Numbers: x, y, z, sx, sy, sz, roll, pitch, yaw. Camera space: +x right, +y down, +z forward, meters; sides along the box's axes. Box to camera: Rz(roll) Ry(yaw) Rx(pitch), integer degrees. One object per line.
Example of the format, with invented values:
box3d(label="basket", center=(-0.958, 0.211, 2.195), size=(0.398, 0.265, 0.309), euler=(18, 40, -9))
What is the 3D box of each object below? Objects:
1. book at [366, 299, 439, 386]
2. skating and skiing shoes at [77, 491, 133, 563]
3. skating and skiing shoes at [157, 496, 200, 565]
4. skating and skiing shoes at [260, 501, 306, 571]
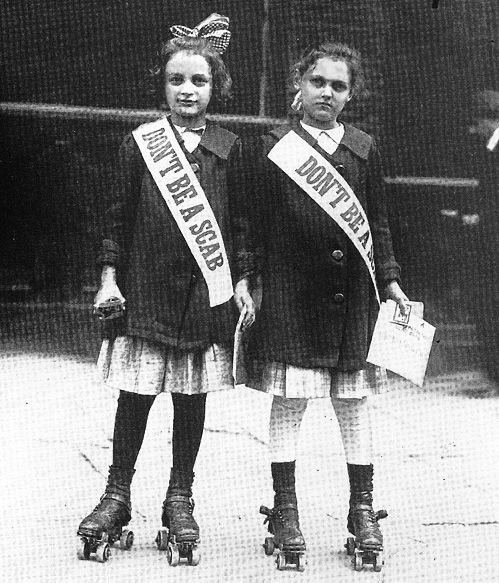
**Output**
box3d(label="book", center=(0.485, 0.166, 3.574), size=(0.245, 0.252, 0.065), euler=(12, -4, -12))
box3d(label="skating and skiing shoes", center=(-0.444, 0.735, 3.493), size=(0.202, 0.155, 0.404), euler=(-3, 15, -9))
box3d(label="skating and skiing shoes", center=(-0.211, 0.749, 3.502), size=(0.097, 0.187, 0.204), euler=(-1, 2, -14))
box3d(label="skating and skiing shoes", center=(0.102, 0.798, 3.628), size=(0.153, 0.218, 0.233), euler=(2, -8, -17))
